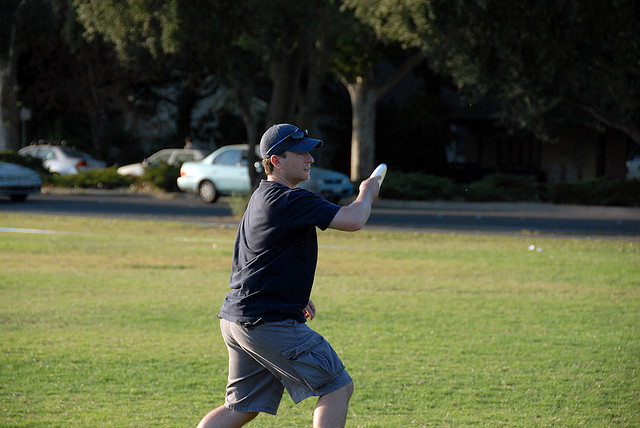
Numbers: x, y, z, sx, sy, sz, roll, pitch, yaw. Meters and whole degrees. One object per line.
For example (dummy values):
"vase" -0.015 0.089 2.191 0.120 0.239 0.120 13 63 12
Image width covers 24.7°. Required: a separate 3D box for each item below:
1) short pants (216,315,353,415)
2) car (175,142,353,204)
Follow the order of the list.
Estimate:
"short pants" -0.325 1.307 12.522 0.784 0.756 0.412 -16 0 37
"car" -0.896 -0.609 20.913 1.899 0.673 0.885 0 3 16
